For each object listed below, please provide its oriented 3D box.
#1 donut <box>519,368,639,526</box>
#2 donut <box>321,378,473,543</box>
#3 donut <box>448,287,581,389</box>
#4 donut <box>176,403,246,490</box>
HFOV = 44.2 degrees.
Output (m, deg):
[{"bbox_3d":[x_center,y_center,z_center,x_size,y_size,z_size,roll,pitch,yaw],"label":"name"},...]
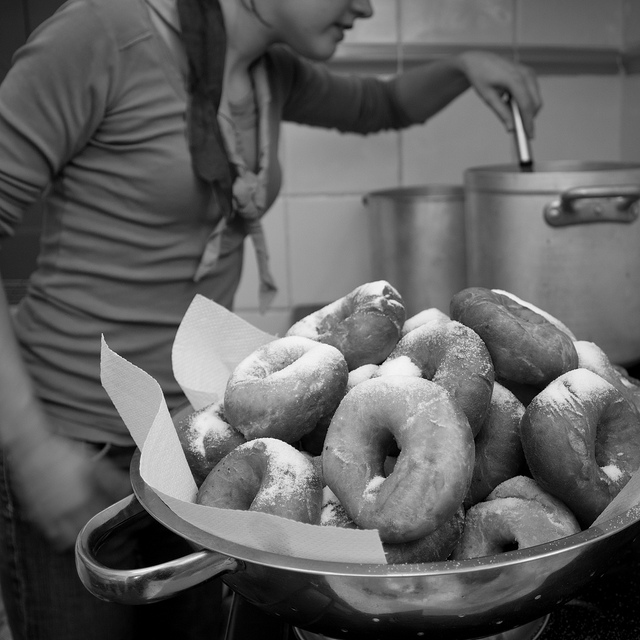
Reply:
[{"bbox_3d":[0.139,0.080,0.479,0.078,0.077,0.026,-44,2,-26],"label":"donut"},{"bbox_3d":[0.038,0.071,0.415,0.065,0.073,0.082,-11,19,-33],"label":"donut"},{"bbox_3d":[0.122,0.005,0.519,0.084,0.031,0.086,22,19,-28],"label":"donut"},{"bbox_3d":[-0.065,0.089,0.486,0.050,0.057,0.018,-10,-19,-6],"label":"donut"}]
